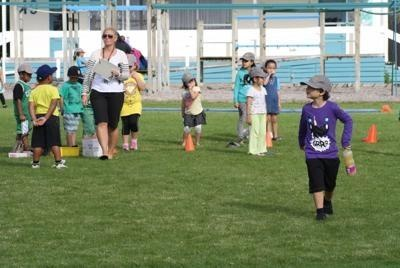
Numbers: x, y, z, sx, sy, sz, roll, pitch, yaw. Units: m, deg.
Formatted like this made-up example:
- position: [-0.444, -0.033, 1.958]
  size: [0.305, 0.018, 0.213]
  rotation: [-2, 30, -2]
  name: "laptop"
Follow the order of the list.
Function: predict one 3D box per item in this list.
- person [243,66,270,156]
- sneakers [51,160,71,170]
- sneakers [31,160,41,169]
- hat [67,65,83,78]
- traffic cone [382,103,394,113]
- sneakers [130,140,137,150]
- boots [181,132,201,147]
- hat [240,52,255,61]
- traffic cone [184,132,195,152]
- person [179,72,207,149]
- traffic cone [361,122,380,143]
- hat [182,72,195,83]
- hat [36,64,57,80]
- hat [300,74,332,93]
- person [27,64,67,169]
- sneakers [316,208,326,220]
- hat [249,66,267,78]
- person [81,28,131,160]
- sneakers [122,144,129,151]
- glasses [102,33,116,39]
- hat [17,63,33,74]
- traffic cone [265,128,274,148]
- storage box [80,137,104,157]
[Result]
- position: [1.454, -0.582, 22.556]
  size: [0.493, 2.201, 0.455]
  rotation: [0, 5, 3]
  name: "person"
- position: [-3.329, 0.702, 21.430]
  size: [0.163, 0.199, 0.455]
  rotation: [1, 8, 10]
  name: "sneakers"
- position: [-3.902, 0.696, 21.221]
  size: [0.122, 0.210, 0.204]
  rotation: [1, 8, -9]
  name: "sneakers"
- position: [-3.194, -1.585, 22.743]
  size: [0.305, 0.174, 0.233]
  rotation: [1, 7, 10]
  name: "hat"
- position: [6.553, -0.899, 31.188]
  size: [0.309, 0.315, 0.325]
  rotation: [-4, 1, 24]
  name: "traffic cone"
- position: [-1.722, 0.257, 23.241]
  size: [0.190, 0.251, 0.574]
  rotation: [-1, -4, -7]
  name: "sneakers"
- position: [-0.229, 0.139, 23.780]
  size: [0.335, 0.326, 0.144]
  rotation: [2, 13, -10]
  name: "boots"
- position: [1.273, -2.029, 23.474]
  size: [0.279, 0.157, 0.207]
  rotation: [0, 2, -39]
  name: "hat"
- position: [-0.255, 0.175, 23.270]
  size: [0.361, 0.513, 0.353]
  rotation: [-1, 11, 3]
  name: "traffic cone"
- position: [-0.170, -0.657, 23.610]
  size: [0.618, 1.919, 0.534]
  rotation: [-1, 5, -6]
  name: "person"
- position: [4.673, -0.044, 24.216]
  size: [0.451, 0.533, 0.469]
  rotation: [3, 11, 6]
  name: "traffic cone"
- position: [-0.302, -1.492, 23.499]
  size: [0.289, 0.230, 0.288]
  rotation: [-2, 6, -12]
  name: "hat"
- position: [-3.666, -1.490, 21.177]
  size: [0.438, 0.234, 0.278]
  rotation: [-34, 37, -29]
  name: "hat"
- position: [2.502, -1.063, 18.717]
  size: [0.493, 0.240, 0.351]
  rotation: [6, 2, -3]
  name: "hat"
- position: [-3.647, -0.418, 21.176]
  size: [0.788, 2.420, 0.436]
  rotation: [-2, 6, -12]
  name: "person"
- position: [2.539, 1.646, 18.635]
  size: [0.133, 0.169, 0.267]
  rotation: [-1, -6, 14]
  name: "sneakers"
- position: [1.464, -1.558, 22.510]
  size: [0.321, 0.174, 0.246]
  rotation: [-2, 9, -1]
  name: "hat"
- position: [-2.277, -0.961, 21.753]
  size: [1.114, 3.190, 0.601]
  rotation: [-1, 5, -7]
  name: "person"
- position: [-1.932, 0.327, 23.216]
  size: [0.141, 0.175, 0.383]
  rotation: [0, -4, -10]
  name: "sneakers"
- position: [-2.190, -2.366, 21.640]
  size: [0.342, 0.136, 0.195]
  rotation: [-2, 7, -10]
  name: "glasses"
- position: [-4.315, -1.612, 21.945]
  size: [0.272, 0.165, 0.226]
  rotation: [-3, 10, 18]
  name: "hat"
- position: [1.846, 0.127, 23.718]
  size: [0.293, 0.354, 0.323]
  rotation: [-1, 1, 0]
  name: "traffic cone"
- position: [-2.732, 0.301, 22.476]
  size: [0.437, 0.456, 0.448]
  rotation: [-1, 3, -27]
  name: "storage box"
